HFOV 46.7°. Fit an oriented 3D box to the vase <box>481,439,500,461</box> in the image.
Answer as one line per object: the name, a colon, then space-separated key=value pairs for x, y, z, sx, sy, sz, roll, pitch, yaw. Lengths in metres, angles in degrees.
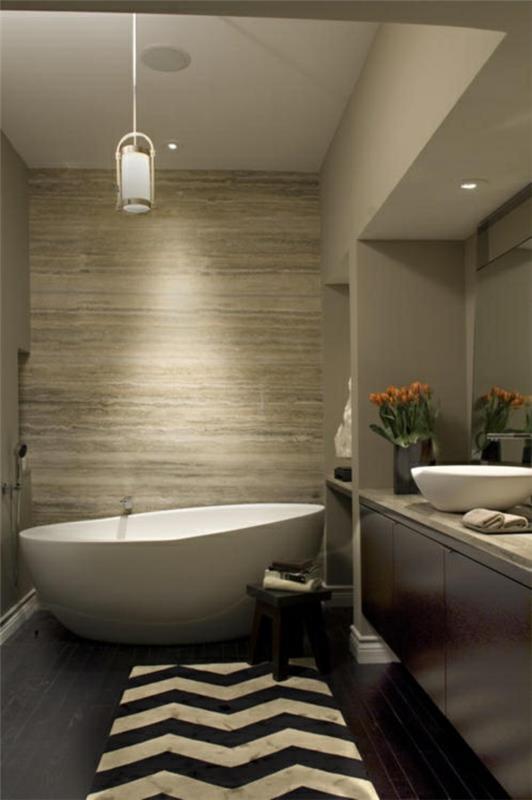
vase: x=0.907 y=0.208 z=2.480 sx=0.063 sy=0.112 sz=0.067 roll=1 pitch=3 yaw=-9

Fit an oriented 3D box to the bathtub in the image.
bathtub: x=-0.474 y=0.933 z=3.397 sx=1.571 sy=0.605 sz=1.181 roll=-2 pitch=-4 yaw=9

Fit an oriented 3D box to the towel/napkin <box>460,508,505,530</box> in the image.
towel/napkin: x=0.560 y=0.312 z=1.586 sx=0.074 sy=0.041 sz=0.154 roll=-1 pitch=-4 yaw=1

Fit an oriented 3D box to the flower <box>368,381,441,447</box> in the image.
flower: x=0.588 y=0.055 z=2.676 sx=0.231 sy=0.269 sz=0.222 roll=-1 pitch=6 yaw=39

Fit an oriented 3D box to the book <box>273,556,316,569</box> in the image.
book: x=0.120 y=0.750 z=2.812 sx=0.101 sy=0.026 sz=0.105 roll=-2 pitch=-4 yaw=14

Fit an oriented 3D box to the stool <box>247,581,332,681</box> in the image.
stool: x=0.100 y=1.021 z=2.736 sx=0.374 sy=0.347 sz=0.391 roll=0 pitch=-5 yaw=4
